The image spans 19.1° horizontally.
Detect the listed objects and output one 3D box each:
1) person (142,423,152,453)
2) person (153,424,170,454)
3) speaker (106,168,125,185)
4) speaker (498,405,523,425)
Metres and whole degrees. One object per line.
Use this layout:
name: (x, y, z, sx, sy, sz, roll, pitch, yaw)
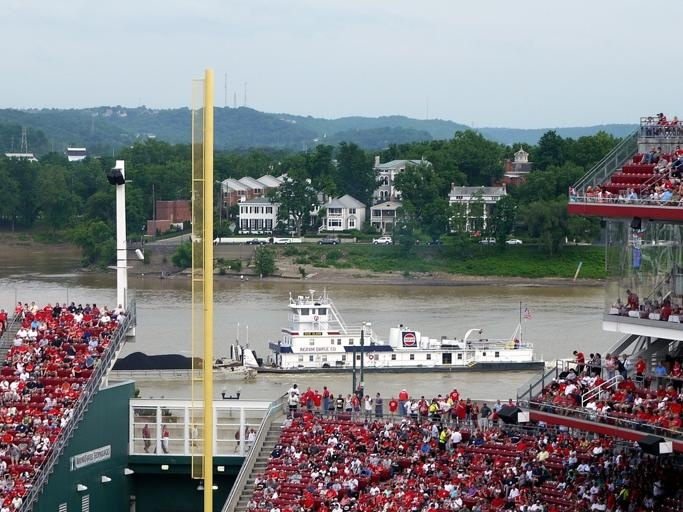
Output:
person: (-8.723, 8.167, 91.005, 0.396, 1.264, 0.355, -1, 3, -12)
person: (-8.011, 8.209, 90.904, 0.671, 1.294, 0.838, 1, 3, 32)
speaker: (-10.256, -3.632, 92.333, 0.746, 0.762, 1.124, -1, 2, -7)
speaker: (6.892, 6.556, 83.957, 0.687, 0.676, 1.186, -2, 3, -31)
